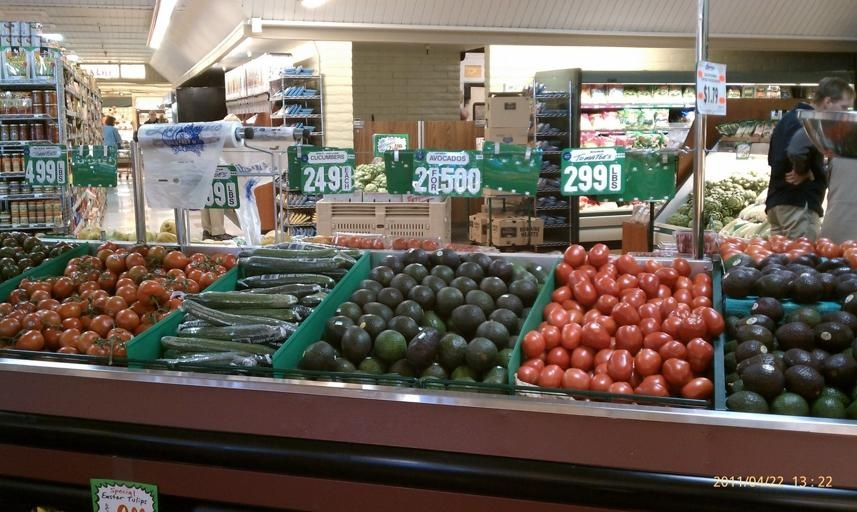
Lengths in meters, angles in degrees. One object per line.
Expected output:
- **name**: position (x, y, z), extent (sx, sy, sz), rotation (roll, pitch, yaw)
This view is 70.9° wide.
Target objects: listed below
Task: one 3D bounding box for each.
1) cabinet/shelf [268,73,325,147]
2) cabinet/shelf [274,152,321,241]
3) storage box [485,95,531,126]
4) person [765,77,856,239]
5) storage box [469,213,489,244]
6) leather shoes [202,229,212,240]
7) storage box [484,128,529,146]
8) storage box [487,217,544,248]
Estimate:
- **cabinet/shelf**: position (-2.369, -2.713, 10.881), extent (0.956, 1.316, 0.656), rotation (-2, 11, -13)
- **cabinet/shelf**: position (-1.497, -0.661, 6.798), extent (0.424, 1.095, 1.162), rotation (-1, 7, -10)
- **storage box**: position (1.179, -2.174, 9.133), extent (0.523, 0.301, 0.510), rotation (0, 10, -2)
- **person**: position (3.229, -0.812, 5.153), extent (0.584, 1.385, 0.771), rotation (7, 12, 28)
- **storage box**: position (0.807, -0.436, 9.501), extent (0.278, 0.457, 0.500), rotation (0, 5, -9)
- **leather shoes**: position (-3.245, -0.323, 8.809), extent (0.134, 0.122, 0.129), rotation (-3, 4, -8)
- **storage box**: position (1.217, -1.824, 9.128), extent (0.696, 0.246, 0.430), rotation (0, 12, -4)
- **storage box**: position (1.327, -0.368, 8.994), extent (0.517, 0.364, 0.704), rotation (1, 7, 13)
